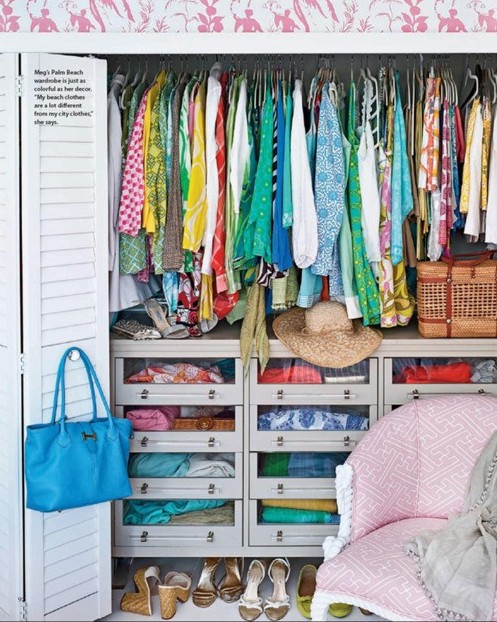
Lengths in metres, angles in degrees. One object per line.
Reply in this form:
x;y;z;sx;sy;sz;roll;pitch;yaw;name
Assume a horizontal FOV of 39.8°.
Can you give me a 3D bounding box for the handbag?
-0.561;0.404;2.248;0.360;0.559;0.174;-7;7;-26;handbag
